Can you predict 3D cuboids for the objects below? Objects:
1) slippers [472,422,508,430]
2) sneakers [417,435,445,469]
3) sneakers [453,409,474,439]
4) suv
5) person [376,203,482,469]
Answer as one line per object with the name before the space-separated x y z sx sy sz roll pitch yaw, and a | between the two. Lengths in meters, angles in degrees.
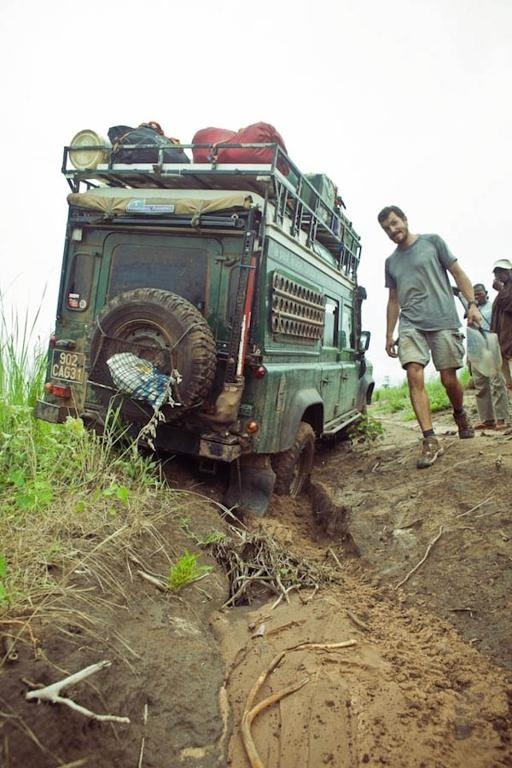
slippers | 2.541 0.450 5.956 0.373 0.107 0.140 -4 -1 15
sneakers | 1.472 0.573 4.706 0.188 0.224 0.321 -6 9 30
sneakers | 1.951 0.378 5.196 0.133 0.371 0.163 -22 -14 27
suv | -0.209 -0.634 5.666 2.046 2.345 3.905 4 2 19
person | 1.609 -0.450 4.926 0.739 2.021 0.900 -7 8 23
